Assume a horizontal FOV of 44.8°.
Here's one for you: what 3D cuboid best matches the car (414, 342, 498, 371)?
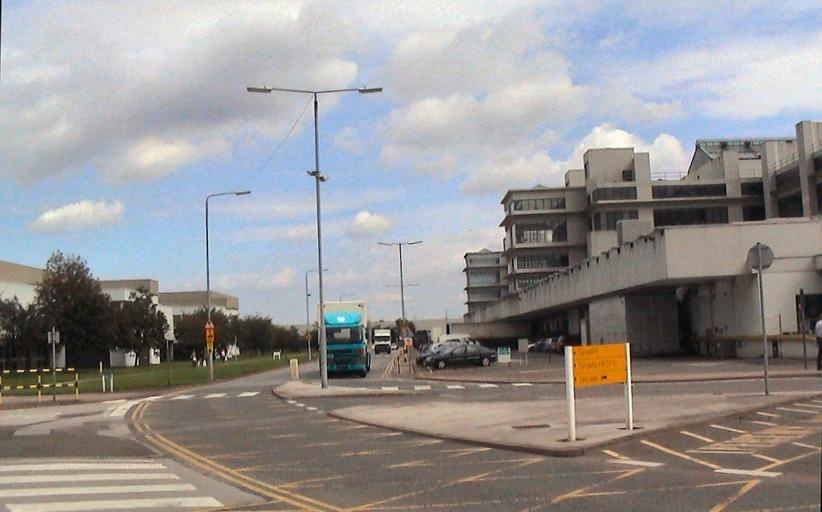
[{"bbox_3d":[3.491,7.073,70.892,4.801,1.715,2.241,3,-5,-20],"label":"car"}]
